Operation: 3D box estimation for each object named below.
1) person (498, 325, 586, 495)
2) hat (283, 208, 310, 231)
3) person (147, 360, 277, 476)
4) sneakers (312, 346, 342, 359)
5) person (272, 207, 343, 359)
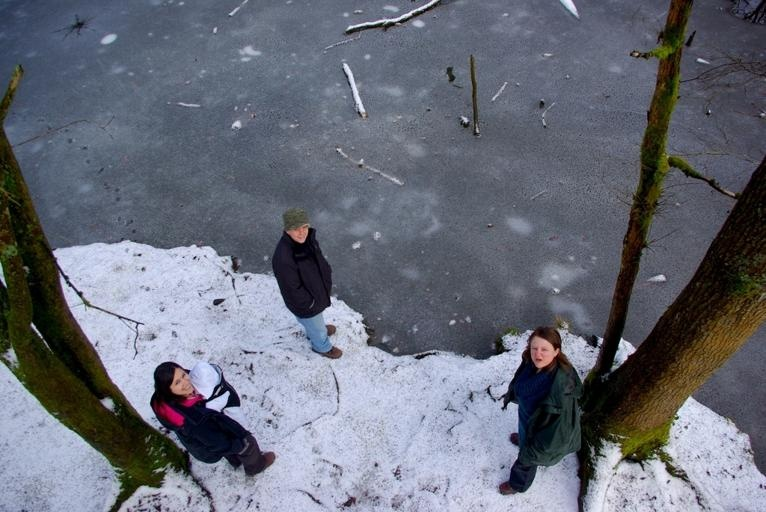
[{"bbox_3d":[2.250,2.277,8.887,1.043,2.041,1.108,18,45,14],"label":"person"},{"bbox_3d":[-1.304,-0.512,9.179,0.307,0.323,0.257,-11,86,-22],"label":"hat"},{"bbox_3d":[-2.478,2.391,9.024,0.788,1.659,0.812,34,77,37],"label":"person"},{"bbox_3d":[-0.912,1.571,10.159,0.453,0.202,0.201,6,72,-1],"label":"sneakers"},{"bbox_3d":[-1.149,0.562,9.670,0.812,2.391,1.316,-14,55,-6],"label":"person"}]
